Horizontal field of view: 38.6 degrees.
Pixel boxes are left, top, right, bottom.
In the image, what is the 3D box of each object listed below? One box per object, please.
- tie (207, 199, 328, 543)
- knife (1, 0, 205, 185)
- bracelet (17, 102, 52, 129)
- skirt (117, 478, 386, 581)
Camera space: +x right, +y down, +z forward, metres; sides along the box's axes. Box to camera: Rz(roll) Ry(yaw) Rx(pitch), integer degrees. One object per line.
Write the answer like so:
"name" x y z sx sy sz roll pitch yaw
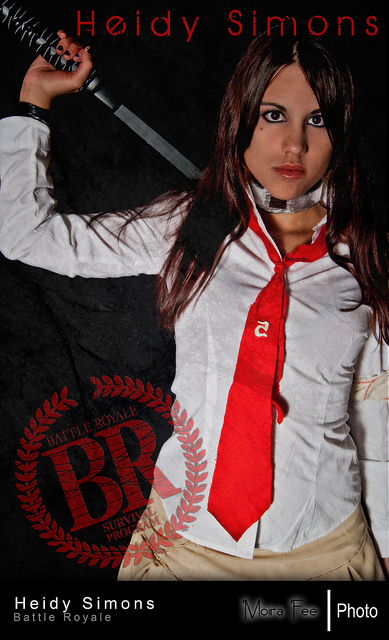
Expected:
"tie" 0.130 0.130 1.190 0.214 0.030 0.609 9 74 13
"knife" -0.240 -0.539 1.369 0.649 0.073 0.066 42 17 -5
"bracelet" -0.384 -0.493 1.357 0.066 0.041 0.064 10 24 -41
"skirt" 0.139 0.479 1.258 0.340 0.163 0.203 1 32 4
